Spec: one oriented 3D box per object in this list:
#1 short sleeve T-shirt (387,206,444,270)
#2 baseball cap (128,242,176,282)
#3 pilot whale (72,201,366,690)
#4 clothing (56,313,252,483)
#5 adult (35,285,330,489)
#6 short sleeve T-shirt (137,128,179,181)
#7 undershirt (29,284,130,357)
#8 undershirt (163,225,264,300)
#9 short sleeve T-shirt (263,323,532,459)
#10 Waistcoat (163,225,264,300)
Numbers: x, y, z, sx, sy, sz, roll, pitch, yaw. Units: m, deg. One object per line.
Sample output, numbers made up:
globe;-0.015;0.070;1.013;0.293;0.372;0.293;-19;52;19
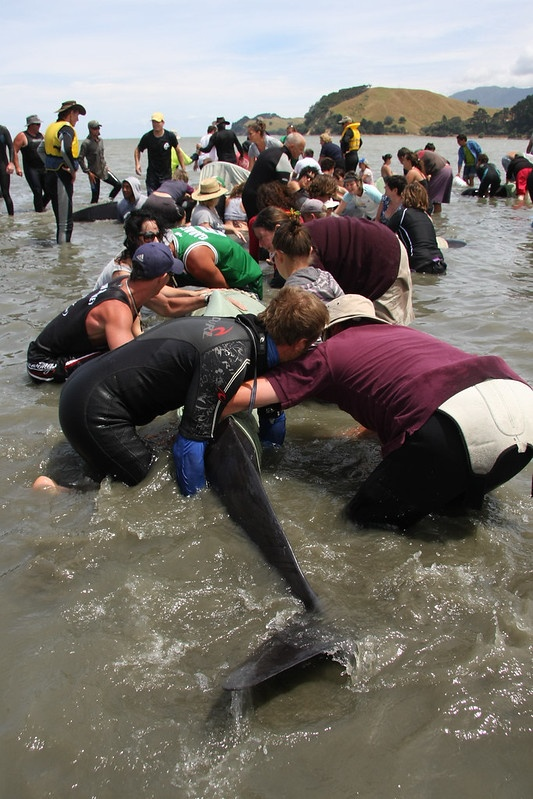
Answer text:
short sleeve T-shirt;1.903;-2.010;8.110;0.708;0.881;0.714;-15;15;-26
baseball cap;-0.629;-0.785;3.582;0.170;0.138;0.257;24;48;20
pilot whale;-0.259;-0.103;2.953;1.341;0.525;2.493;-1;66;-21
clothing;-0.526;0.015;3.066;0.905;0.830;0.642;-3;26;-23
adult;-0.398;0.083;3.039;1.240;1.230;0.686;1;25;-14
short sleeve T-shirt;-1.819;-4.091;10.829;0.769;0.868;0.388;1;17;-3
undershirt;-1.352;-0.436;4.338;0.614;0.423;0.452;17;21;-15
undershirt;-0.379;-1.027;4.910;0.719;0.498;0.508;-22;46;-7
short sleeve T-shirt;0.489;-0.097;2.666;0.664;0.242;0.748;-15;25;-30
Waistcoat;-0.392;-1.037;4.897;0.719;0.498;0.508;-22;46;-7
